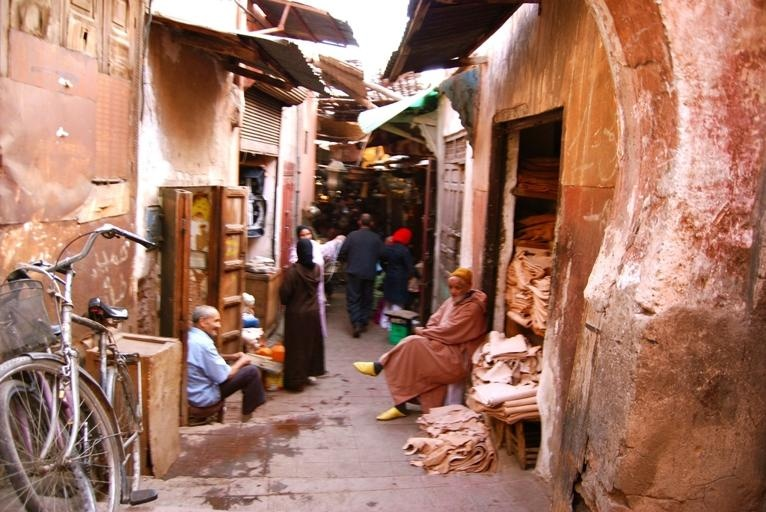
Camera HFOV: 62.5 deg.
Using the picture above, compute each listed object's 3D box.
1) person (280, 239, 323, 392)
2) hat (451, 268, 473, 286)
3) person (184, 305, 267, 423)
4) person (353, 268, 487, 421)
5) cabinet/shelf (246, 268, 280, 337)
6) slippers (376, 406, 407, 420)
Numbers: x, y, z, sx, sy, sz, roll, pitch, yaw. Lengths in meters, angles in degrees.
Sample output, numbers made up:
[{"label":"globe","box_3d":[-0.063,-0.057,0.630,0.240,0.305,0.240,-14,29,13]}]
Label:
[{"label":"person","box_3d":[-0.963,0.707,7.733,0.540,1.790,0.453,-1,9,-20]},{"label":"hat","box_3d":[0.894,0.232,6.991,0.228,0.183,0.174,29,-19,-15]},{"label":"person","box_3d":[-1.615,1.095,6.375,0.843,1.096,0.681,-3,6,-32]},{"label":"person","box_3d":[0.558,0.952,6.808,1.121,1.583,0.454,2,8,-1]},{"label":"cabinet/shelf","box_3d":[-1.773,0.669,9.318,0.590,0.804,0.909,6,16,10]},{"label":"slippers","box_3d":[0.087,1.698,6.781,0.349,0.120,0.121,2,-4,-10]}]
